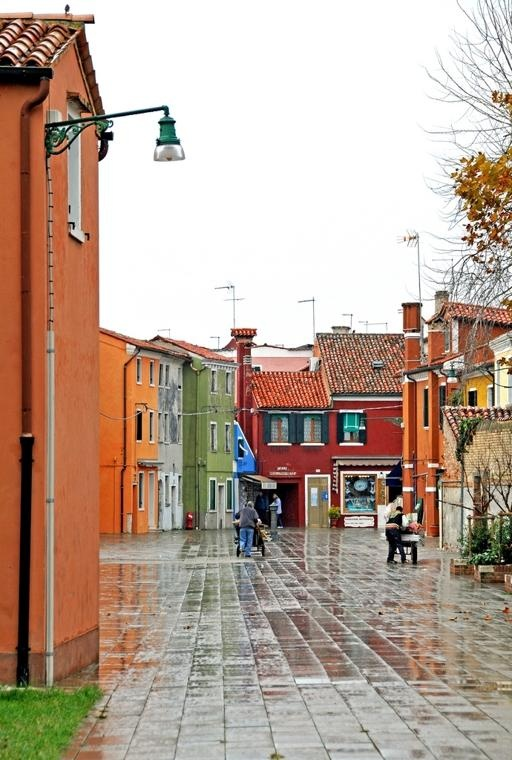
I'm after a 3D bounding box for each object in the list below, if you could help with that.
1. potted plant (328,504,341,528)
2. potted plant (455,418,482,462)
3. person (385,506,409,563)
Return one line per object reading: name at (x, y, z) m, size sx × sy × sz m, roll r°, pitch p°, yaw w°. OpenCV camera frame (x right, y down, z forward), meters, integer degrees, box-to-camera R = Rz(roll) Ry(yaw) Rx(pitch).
potted plant at (4.088, 7.261, 62.667) m, size 0.646 × 1.593 × 0.804 m, roll 0°, pitch -5°, yaw -3°
potted plant at (5.663, 1.642, 32.335) m, size 0.356 × 1.189 × 1.608 m, roll -1°, pitch -8°, yaw -4°
person at (3.518, 3.957, 30.373) m, size 0.479 × 1.492 × 1.918 m, roll -3°, pitch -7°, yaw 7°
